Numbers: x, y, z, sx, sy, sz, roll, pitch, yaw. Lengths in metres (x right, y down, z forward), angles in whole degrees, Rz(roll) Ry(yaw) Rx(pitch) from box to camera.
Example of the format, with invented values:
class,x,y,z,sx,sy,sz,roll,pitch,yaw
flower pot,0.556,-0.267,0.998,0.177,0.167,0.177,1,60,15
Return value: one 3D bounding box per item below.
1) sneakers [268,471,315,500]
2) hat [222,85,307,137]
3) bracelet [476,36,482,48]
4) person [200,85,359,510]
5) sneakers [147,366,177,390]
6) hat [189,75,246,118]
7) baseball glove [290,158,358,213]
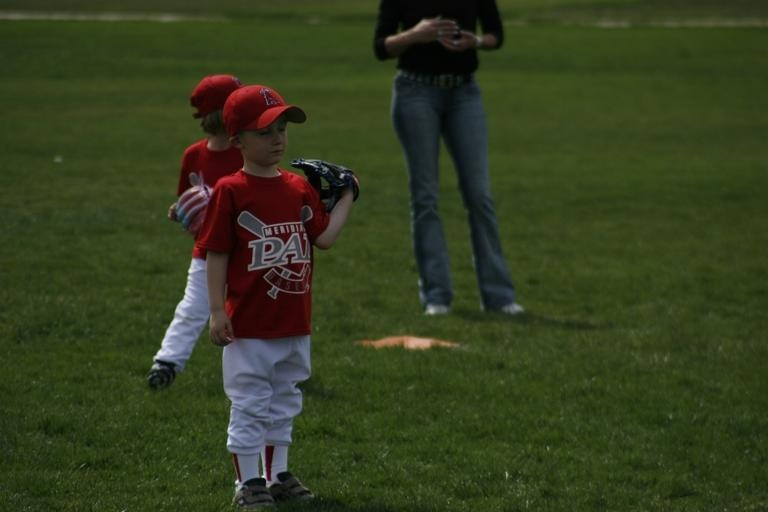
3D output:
class,x,y,z,sx,sy,sz,roll,pitch,yaw
sneakers,-0.617,1.493,9.005,0.272,0.124,0.148,1,11,28
hat,-0.804,-0.968,8.953,0.456,0.244,0.331,-11,15,23
bracelet,0.708,-1.602,10.279,0.030,0.072,0.054,9,9,27
person,-0.716,0.237,9.007,0.939,2.646,0.745,-7,14,-23
sneakers,-1.587,0.850,9.651,0.207,0.212,0.112,-2,13,-3
hat,-1.224,-1.140,9.811,0.368,0.195,0.258,-33,21,5
baseball glove,-0.369,-0.521,9.179,0.186,0.303,0.433,-26,52,-38
